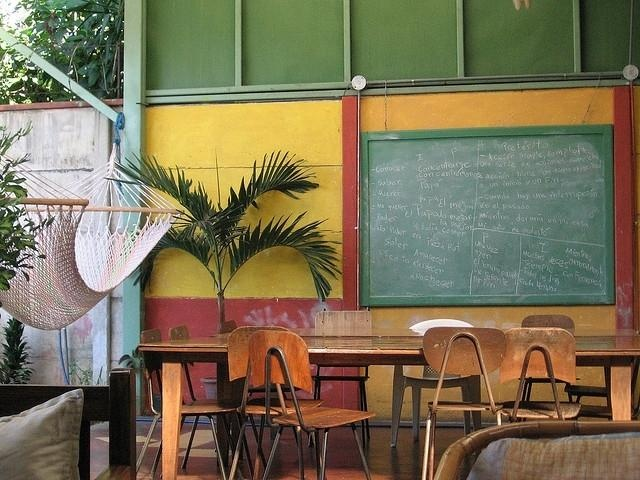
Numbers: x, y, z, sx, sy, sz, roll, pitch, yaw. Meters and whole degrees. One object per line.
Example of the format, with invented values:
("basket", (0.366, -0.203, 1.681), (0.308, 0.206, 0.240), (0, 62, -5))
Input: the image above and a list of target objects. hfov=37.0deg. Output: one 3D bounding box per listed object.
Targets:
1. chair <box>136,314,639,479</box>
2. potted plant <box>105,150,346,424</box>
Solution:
("chair", (0.422, 1.139, 6.621), (3.315, 1.019, 0.978), (0, -6, 8))
("potted plant", (-0.625, 0.135, 8.490), (1.521, 1.614, 1.548), (1, -6, 20))
